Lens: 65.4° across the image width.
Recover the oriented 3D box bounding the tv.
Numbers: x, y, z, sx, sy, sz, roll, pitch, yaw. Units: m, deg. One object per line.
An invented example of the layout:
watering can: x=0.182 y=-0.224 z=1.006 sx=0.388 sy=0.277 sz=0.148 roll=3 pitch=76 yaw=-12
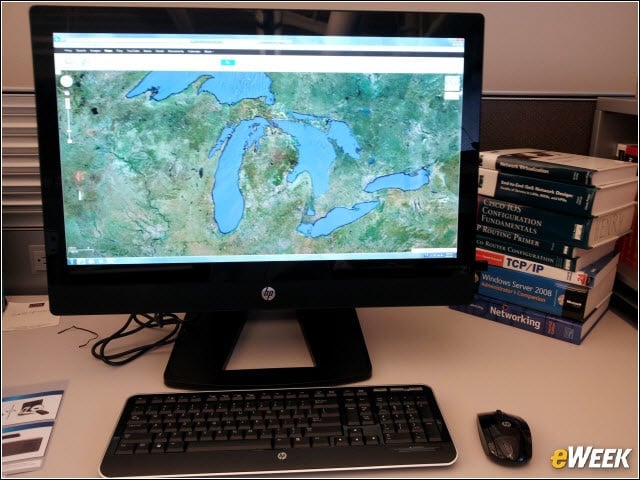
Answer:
tv: x=-0.113 y=-0.083 z=0.901 sx=0.775 sy=0.311 sz=0.564 roll=0 pitch=-70 yaw=-4

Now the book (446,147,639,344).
book: x=0.443 y=-0.001 z=1.273 sx=0.386 sy=0.515 sz=0.469 roll=-15 pitch=-69 yaw=-50
